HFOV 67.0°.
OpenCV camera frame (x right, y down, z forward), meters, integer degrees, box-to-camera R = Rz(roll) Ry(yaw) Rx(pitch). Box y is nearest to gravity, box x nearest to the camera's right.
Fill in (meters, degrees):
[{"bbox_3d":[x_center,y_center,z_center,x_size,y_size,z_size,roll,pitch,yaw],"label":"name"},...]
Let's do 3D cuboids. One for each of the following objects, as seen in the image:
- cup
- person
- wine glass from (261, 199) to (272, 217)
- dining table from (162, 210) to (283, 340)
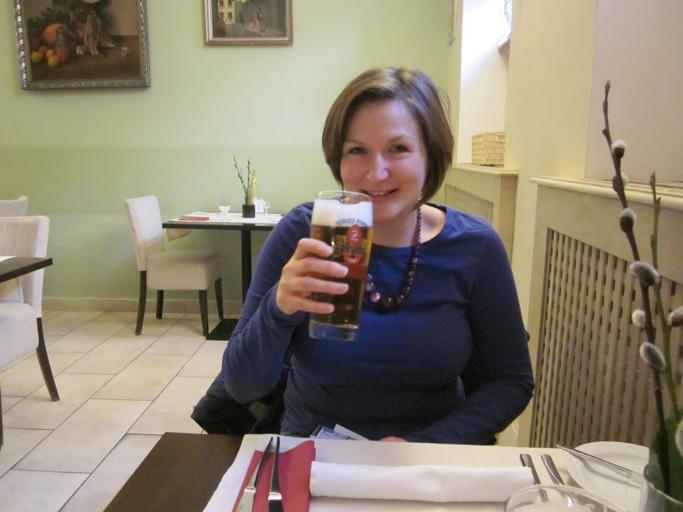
[{"bbox_3d":[-0.002,0.022,1.036,0.119,0.299,0.078,0,11,-1],"label":"cup"},{"bbox_3d":[0.083,0.010,1.383,0.736,1.005,0.646,-9,15,-41],"label":"person"},{"bbox_3d":[-0.657,-0.418,4.463,0.124,0.150,0.115,0,2,-3],"label":"wine glass"},{"bbox_3d":[-0.895,0.117,4.424,0.982,1.011,1.026,1,14,2],"label":"dining table"}]
